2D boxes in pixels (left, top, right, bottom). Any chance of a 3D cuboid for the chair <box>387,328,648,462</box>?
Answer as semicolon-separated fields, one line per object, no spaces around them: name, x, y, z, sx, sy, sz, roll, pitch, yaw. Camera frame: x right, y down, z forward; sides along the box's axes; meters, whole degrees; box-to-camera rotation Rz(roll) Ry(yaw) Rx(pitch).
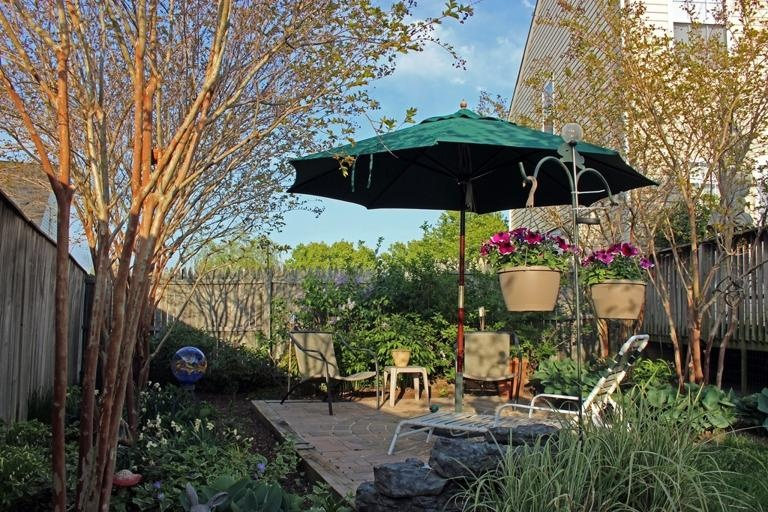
chair;1.244;1.457;6.131;2.382;1.233;1.425;-1;-12;8

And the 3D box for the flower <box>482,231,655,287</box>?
flower;1.777;-0.005;6.412;1.079;0.409;0.776;2;-2;-4

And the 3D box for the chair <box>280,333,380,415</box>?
chair;-0.721;1.609;8.927;0.943;1.217;1.241;6;-12;-42

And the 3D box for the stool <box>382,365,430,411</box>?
stool;0.290;1.879;9.208;0.535;0.537;0.580;1;-13;-11

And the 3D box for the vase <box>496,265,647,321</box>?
vase;1.845;0.369;6.346;1.224;0.378;0.642;-1;-11;4
